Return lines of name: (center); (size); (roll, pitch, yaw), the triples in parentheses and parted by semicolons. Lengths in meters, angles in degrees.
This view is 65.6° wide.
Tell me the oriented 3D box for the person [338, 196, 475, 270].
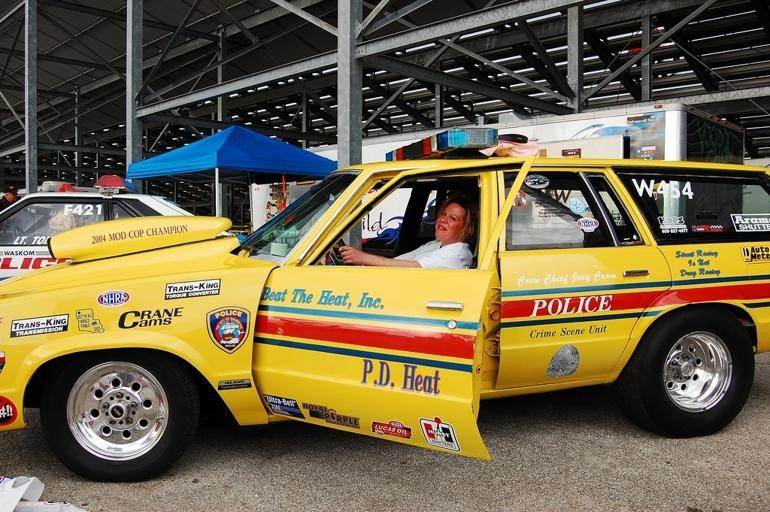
person: (0.188, -0.181, 5.353); (1.354, 0.477, 0.947); (-5, 18, 9)
